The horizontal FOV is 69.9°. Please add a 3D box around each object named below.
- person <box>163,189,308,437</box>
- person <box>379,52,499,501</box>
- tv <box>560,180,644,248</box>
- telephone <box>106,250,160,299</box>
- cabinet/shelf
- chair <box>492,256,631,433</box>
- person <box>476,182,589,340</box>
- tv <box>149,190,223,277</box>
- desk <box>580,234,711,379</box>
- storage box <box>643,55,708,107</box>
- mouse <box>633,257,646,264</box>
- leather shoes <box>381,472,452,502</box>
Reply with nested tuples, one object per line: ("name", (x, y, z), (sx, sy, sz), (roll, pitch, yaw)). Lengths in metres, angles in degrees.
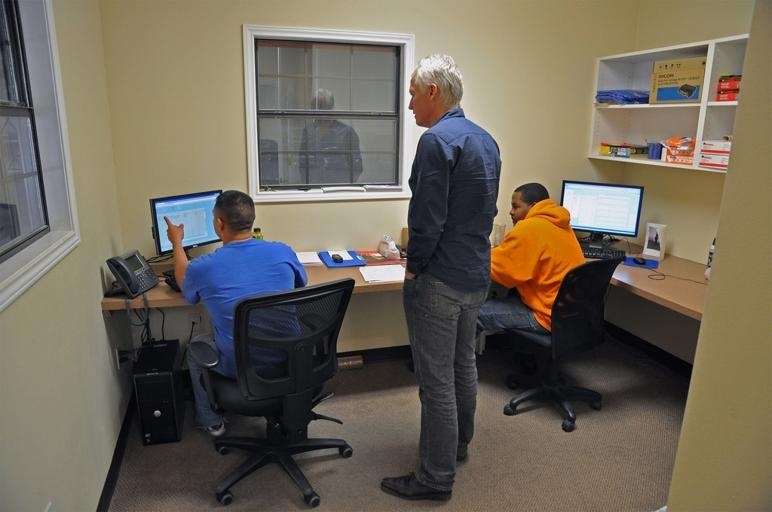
("person", (-0.900, 0.392, 3.084), (0.887, 1.519, 0.526), (8, 19, 32))
("person", (0.268, 0.155, 2.835), (0.492, 2.258, 0.556), (5, 17, 22))
("tv", (1.606, -0.322, 4.152), (0.484, 0.376, 0.142), (7, 20, 24))
("telephone", (-1.422, 0.053, 3.274), (0.120, 0.250, 0.334), (-32, 8, 3))
("cabinet/shelf", (1.877, -1.073, 3.697), (0.390, 0.865, 1.364), (-1, 13, -8))
("chair", (1.103, 0.465, 3.693), (0.751, 1.085, 0.805), (9, 4, 28))
("person", (0.968, 0.114, 3.750), (0.824, 1.177, 0.648), (9, 7, 32))
("tv", (-1.223, -0.155, 3.362), (0.150, 0.460, 0.450), (18, 24, 42))
("desk", (1.747, 0.330, 3.714), (0.458, 0.593, 0.916), (0, 15, -8))
("storage box", (1.964, -1.181, 3.728), (0.229, 0.383, 0.422), (-8, 13, -39))
("mouse", (1.802, 0.026, 3.931), (0.046, 0.022, 0.066), (11, 19, 24))
("leather shoes", (0.167, 1.217, 3.016), (0.369, 0.164, 0.148), (4, -3, 7))
